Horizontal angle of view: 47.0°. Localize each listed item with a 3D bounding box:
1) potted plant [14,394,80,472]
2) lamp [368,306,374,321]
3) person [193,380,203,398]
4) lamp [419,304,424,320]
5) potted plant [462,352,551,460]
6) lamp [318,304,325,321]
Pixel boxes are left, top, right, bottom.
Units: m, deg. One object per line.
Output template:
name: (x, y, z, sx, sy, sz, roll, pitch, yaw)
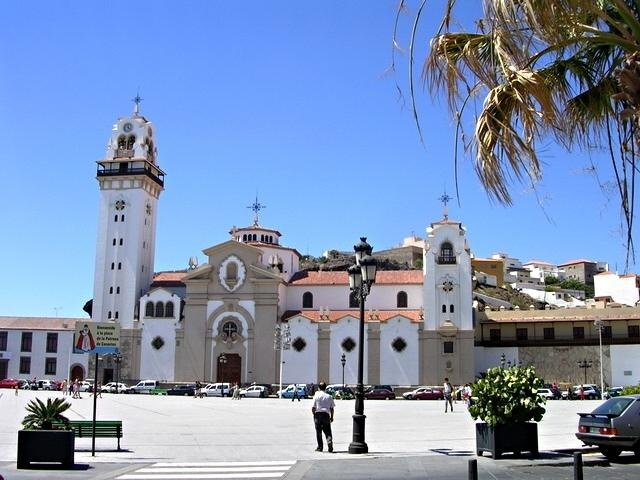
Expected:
potted plant: (-6.793, 4.784, 18.289, 1.574, 1.719, 1.558, 9, -12, -41)
lamp: (4.580, 6.672, 65.191, 0.684, 1.254, 0.676, 0, -12, 6)
person: (-10.460, 12.819, 62.595, 0.802, 0.986, 1.548, 0, -16, -5)
lamp: (8.860, 6.460, 64.034, 0.417, 1.039, 0.853, -3, -13, 8)
potted plant: (4.766, 4.384, 18.773, 1.789, 2.261, 1.033, -4, -13, 11)
lamp: (0.219, 6.570, 66.059, 0.562, 1.221, 1.190, -1, -13, 0)
